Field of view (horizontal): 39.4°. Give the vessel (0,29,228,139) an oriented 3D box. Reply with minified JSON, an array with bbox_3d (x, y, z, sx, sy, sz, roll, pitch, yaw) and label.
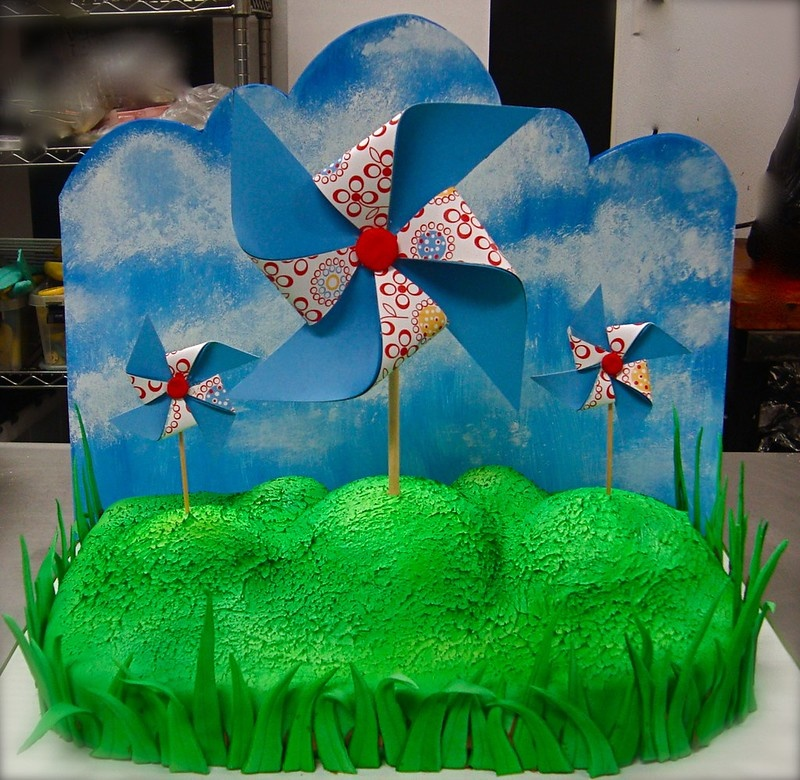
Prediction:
[{"bbox_3d":[-0.685,-0.705,2.588,0.423,0.332,0.105,-11,20,-8],"label":"vessel"}]

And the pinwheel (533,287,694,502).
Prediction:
[{"bbox_3d":[0.315,0.014,1.682,0.215,0.322,0.043,-3,22,8],"label":"pinwheel"}]

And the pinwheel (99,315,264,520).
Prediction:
[{"bbox_3d":[-0.338,0.034,1.724,0.239,0.361,0.036,-8,13,-17],"label":"pinwheel"}]

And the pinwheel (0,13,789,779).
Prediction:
[{"bbox_3d":[0.043,0.027,1.681,1.013,1.110,0.568,-1,13,-1],"label":"pinwheel"}]

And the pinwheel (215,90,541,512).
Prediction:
[{"bbox_3d":[-0.017,-0.095,1.536,0.388,0.617,0.089,-1,29,4],"label":"pinwheel"}]
